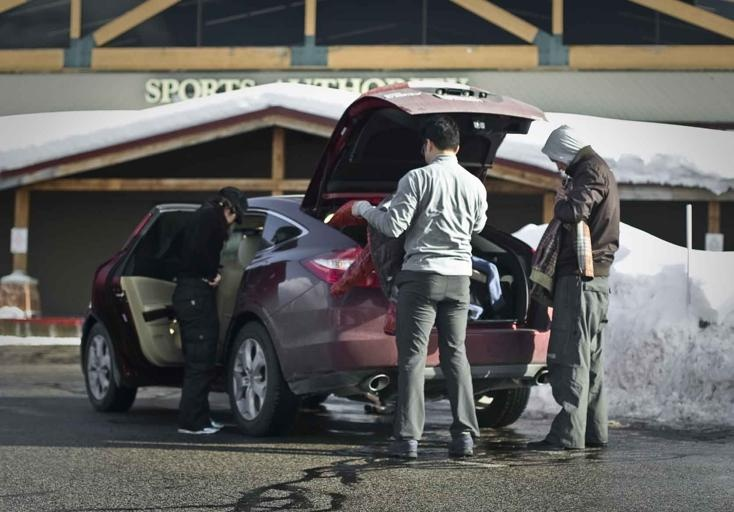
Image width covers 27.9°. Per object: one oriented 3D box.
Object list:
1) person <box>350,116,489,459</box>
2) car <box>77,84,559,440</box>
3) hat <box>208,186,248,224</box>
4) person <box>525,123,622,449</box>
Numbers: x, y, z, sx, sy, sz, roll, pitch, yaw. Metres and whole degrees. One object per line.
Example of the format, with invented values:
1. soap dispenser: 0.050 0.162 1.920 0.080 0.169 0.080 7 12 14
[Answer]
1. person: 0.757 0.390 17.698 1.414 3.971 1.064 -5 14 -12
2. car: -0.911 -0.031 19.005 3.895 2.644 5.469 1 3 -43
3. hat: -1.737 -0.706 18.905 0.483 0.429 0.338 28 5 -15
4. person: 2.591 0.389 18.126 0.965 3.819 1.361 1 13 10
